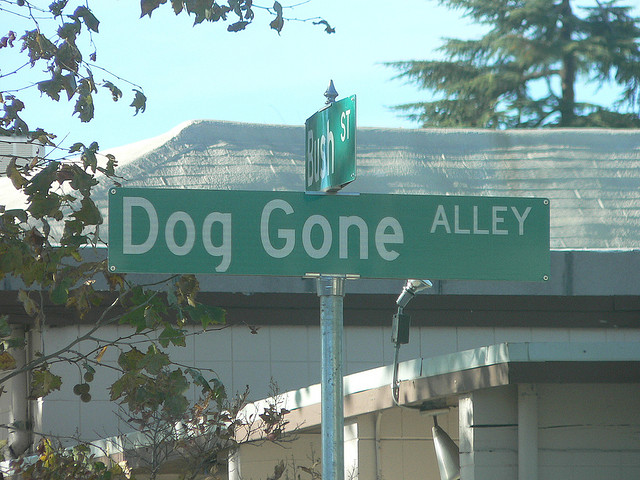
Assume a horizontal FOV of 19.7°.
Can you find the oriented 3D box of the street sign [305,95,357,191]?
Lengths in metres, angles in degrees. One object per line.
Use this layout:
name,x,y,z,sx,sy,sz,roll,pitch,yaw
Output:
street sign,0.149,-1.266,24.525,0.829,1.157,0.259,-7,-14,23
